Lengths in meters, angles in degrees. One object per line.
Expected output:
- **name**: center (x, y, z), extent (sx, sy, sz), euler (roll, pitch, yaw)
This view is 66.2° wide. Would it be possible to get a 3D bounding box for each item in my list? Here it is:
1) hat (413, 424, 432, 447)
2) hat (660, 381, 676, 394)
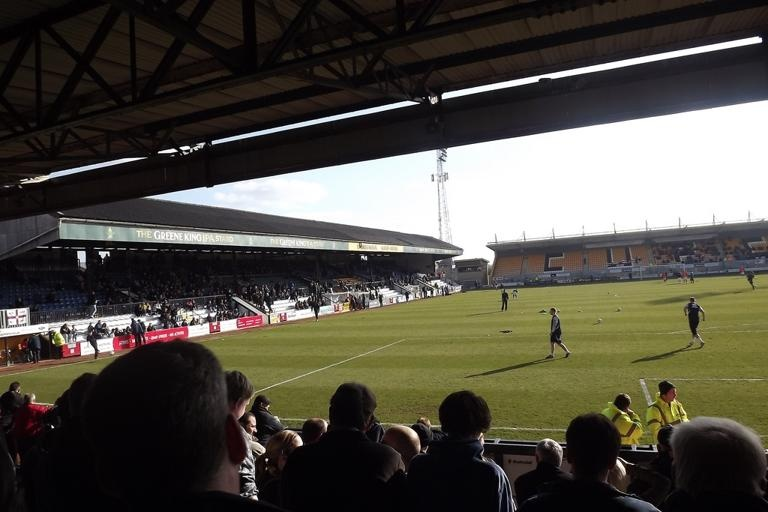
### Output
- **hat**: center (0.489, 2.260, 7.492), extent (0.243, 0.284, 0.390), euler (-7, -4, 5)
- **hat**: center (4.353, 1.996, 9.091), extent (0.194, 0.165, 0.323), euler (-8, -5, 24)
